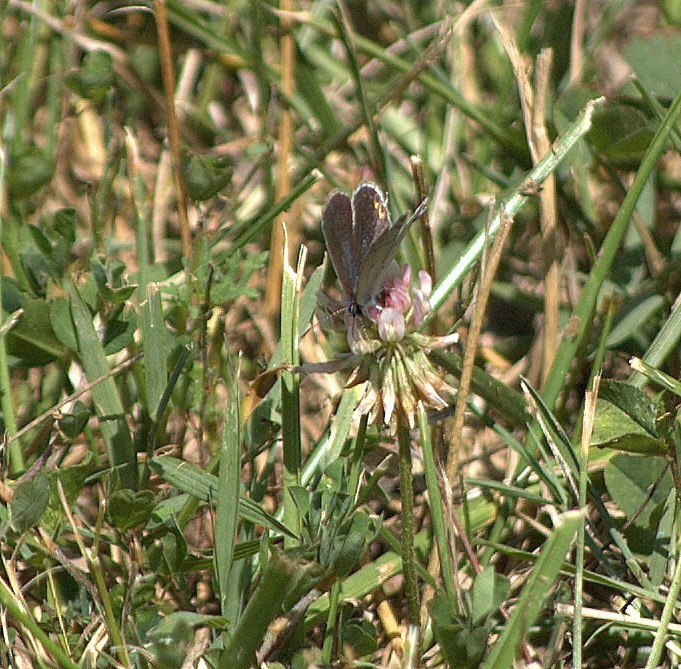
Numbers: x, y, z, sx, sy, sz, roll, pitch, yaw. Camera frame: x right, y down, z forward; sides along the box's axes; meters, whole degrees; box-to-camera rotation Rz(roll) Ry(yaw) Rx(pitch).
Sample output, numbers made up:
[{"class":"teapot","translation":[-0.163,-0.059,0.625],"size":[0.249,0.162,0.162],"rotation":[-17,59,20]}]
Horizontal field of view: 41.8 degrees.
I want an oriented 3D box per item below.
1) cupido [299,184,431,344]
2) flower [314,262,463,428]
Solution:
[{"class":"cupido","translation":[0.030,-0.129,1.188],"size":[0.165,0.206,0.096],"rotation":[16,29,37]},{"class":"flower","translation":[0.064,0.000,1.249],"size":[0.155,0.134,0.195],"rotation":[-6,21,-8]}]
